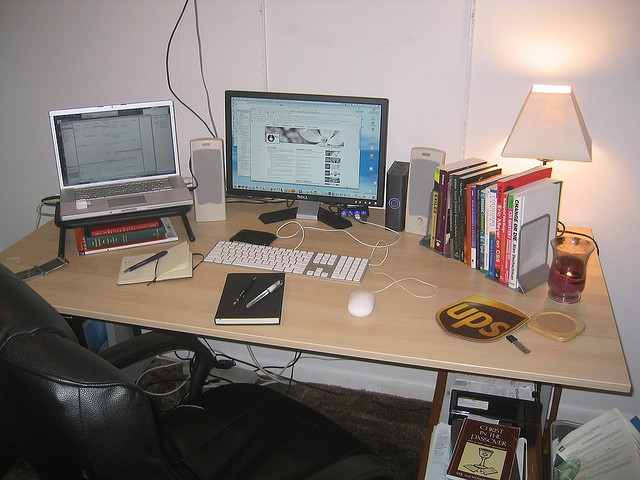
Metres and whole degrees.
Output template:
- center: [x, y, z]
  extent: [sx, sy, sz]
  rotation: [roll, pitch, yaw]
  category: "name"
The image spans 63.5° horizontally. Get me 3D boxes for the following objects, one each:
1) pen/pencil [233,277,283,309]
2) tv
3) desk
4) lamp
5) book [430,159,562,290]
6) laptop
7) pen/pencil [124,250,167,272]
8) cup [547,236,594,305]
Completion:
- center: [-0.203, 0.178, 1.699]
  extent: [0.023, 0.023, 0.164]
  rotation: [-3, 22, 34]
  category: "pen/pencil"
- center: [-0.045, -0.321, 2.062]
  extent: [0.548, 0.444, 0.148]
  rotation: [4, 29, 5]
  category: "tv"
- center: [0.126, 0.637, 2.151]
  extent: [1.967, 0.992, 0.830]
  rotation: [10, 51, 10]
  category: "desk"
- center: [0.837, -0.361, 1.957]
  extent: [0.412, 0.398, 0.422]
  rotation: [-15, 25, -36]
  category: "lamp"
- center: [0.608, -0.039, 1.788]
  extent: [0.180, 0.279, 0.341]
  rotation: [-22, 37, -37]
  category: "book"
- center: [-0.741, -0.307, 1.917]
  extent: [0.467, 0.284, 0.391]
  rotation: [-12, 34, -24]
  category: "laptop"
- center: [-0.616, 0.079, 1.837]
  extent: [0.018, 0.018, 0.126]
  rotation: [29, 40, 26]
  category: "pen/pencil"
- center: [0.817, 0.097, 1.705]
  extent: [0.130, 0.191, 0.126]
  rotation: [-2, 22, 1]
  category: "cup"
